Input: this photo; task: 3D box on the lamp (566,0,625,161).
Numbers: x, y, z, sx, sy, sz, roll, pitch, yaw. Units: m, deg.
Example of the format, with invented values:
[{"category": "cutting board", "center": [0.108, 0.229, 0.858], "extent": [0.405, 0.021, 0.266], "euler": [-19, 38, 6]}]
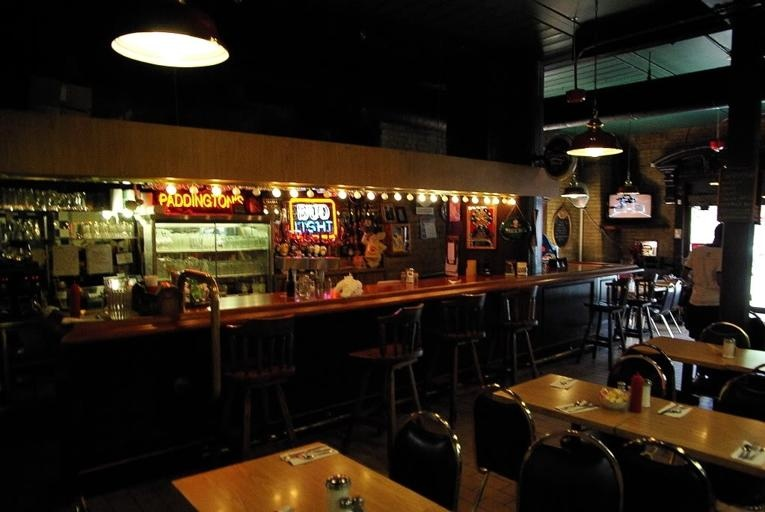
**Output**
[{"category": "lamp", "center": [3.156, -2.510, 9.063], "extent": [0.740, 2.031, 4.305], "euler": [-1, 7, 18]}]

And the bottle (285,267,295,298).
[{"category": "bottle", "center": [-1.238, 0.362, 7.844], "extent": [0.123, 0.339, 0.333], "euler": [-4, 6, -8]}]

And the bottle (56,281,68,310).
[{"category": "bottle", "center": [-4.667, 0.565, 8.584], "extent": [0.146, 0.407, 0.149], "euler": [-3, 6, 0]}]

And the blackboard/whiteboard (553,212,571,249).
[{"category": "blackboard/whiteboard", "center": [4.409, -0.678, 14.715], "extent": [0.572, 0.955, 0.122], "euler": [-7, 7, -31]}]

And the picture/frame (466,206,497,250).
[{"category": "picture/frame", "center": [1.689, -0.491, 10.047], "extent": [0.658, 0.936, 0.064], "euler": [5, 8, 37]}]

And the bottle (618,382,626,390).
[{"category": "bottle", "center": [2.331, 1.273, 5.766], "extent": [0.067, 0.051, 0.069], "euler": [1, 6, 0]}]

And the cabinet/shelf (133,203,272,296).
[{"category": "cabinet/shelf", "center": [-2.886, -0.119, 9.156], "extent": [1.434, 1.350, 0.541], "euler": [-3, 6, -33]}]
